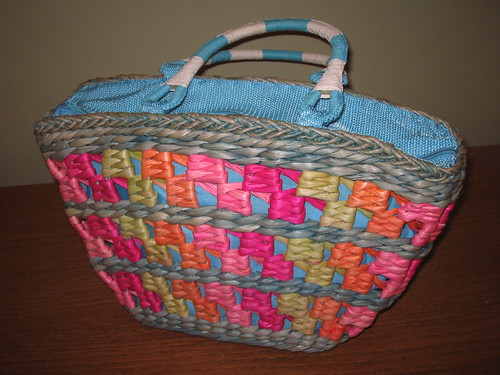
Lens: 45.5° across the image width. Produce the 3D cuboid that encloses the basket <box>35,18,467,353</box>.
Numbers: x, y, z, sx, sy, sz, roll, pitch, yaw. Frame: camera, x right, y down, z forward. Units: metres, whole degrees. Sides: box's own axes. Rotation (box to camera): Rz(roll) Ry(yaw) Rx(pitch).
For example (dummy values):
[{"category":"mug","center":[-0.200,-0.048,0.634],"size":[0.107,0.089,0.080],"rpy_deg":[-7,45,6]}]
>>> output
[{"category":"basket","center":[-0.013,-0.009,1.166],"size":[0.787,0.617,0.459],"rpy_deg":[14,36,14]}]
